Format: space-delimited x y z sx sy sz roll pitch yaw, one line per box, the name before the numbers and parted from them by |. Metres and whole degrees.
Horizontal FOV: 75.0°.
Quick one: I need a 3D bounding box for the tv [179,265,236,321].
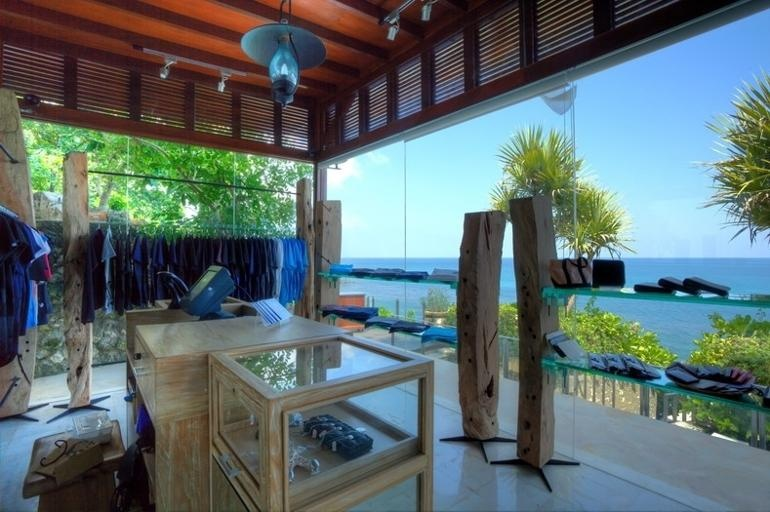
tv | -1.459 0.302 4.161 0.472 0.530 0.378 1 1 -32
